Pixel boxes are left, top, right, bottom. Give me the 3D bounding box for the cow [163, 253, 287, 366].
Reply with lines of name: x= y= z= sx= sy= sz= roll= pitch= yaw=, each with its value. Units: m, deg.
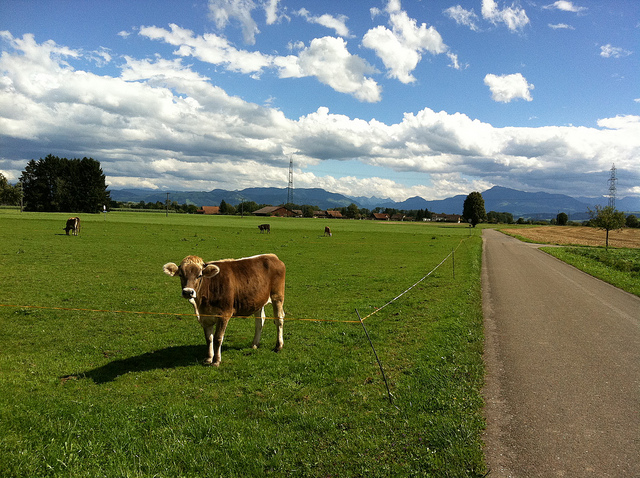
cow: x=-3.387 y=2.700 z=18.868 sx=2.106 sy=4.118 sz=5.749 roll=5 pitch=5 yaw=38
